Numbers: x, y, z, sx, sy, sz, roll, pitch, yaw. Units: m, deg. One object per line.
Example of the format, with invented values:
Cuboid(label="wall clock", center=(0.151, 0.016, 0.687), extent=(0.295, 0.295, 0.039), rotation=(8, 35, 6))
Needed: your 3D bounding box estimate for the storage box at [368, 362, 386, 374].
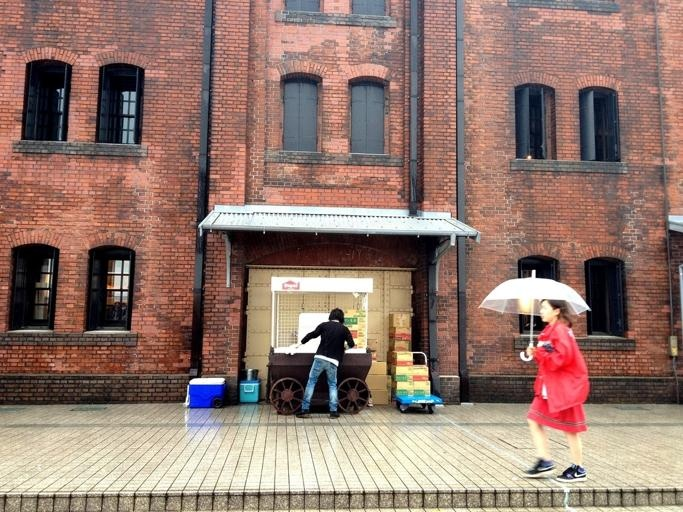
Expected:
Cuboid(label="storage box", center=(0.922, 2.852, 18.443), extent=(0.326, 0.216, 0.332), rotation=(1, -3, 0))

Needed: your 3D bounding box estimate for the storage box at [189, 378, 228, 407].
Cuboid(label="storage box", center=(-3.355, 3.385, 17.931), extent=(0.819, 0.657, 0.569), rotation=(0, -4, -4))

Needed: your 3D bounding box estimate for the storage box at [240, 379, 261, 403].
Cuboid(label="storage box", center=(-2.297, 3.428, 18.646), extent=(0.571, 0.618, 0.472), rotation=(1, -2, -2))

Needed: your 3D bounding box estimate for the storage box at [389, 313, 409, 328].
Cuboid(label="storage box", center=(1.504, 1.727, 18.978), extent=(0.372, 0.258, 0.378), rotation=(1, -14, -6))

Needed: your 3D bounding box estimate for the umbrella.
Cuboid(label="umbrella", center=(3.735, 1.161, 14.276), extent=(1.857, 1.823, 1.855), rotation=(21, -20, -39))

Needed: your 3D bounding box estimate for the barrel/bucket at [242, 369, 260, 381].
Cuboid(label="barrel/bucket", center=(-2.322, 3.051, 18.671), extent=(0.240, 0.244, 0.338), rotation=(-2, -10, 12))

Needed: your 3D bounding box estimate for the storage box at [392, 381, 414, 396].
Cuboid(label="storage box", center=(1.496, 3.292, 18.039), extent=(0.325, 0.214, 0.328), rotation=(4, -7, -27))

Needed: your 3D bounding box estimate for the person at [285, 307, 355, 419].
Cuboid(label="person", center=(-0.478, 2.648, 17.187), extent=(1.387, 2.883, 0.917), rotation=(16, -36, -9))

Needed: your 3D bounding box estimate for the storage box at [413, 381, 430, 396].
Cuboid(label="storage box", center=(1.975, 3.280, 17.977), extent=(0.336, 0.274, 0.336), rotation=(0, -5, 7))

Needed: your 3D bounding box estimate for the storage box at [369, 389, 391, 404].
Cuboid(label="storage box", center=(0.959, 3.590, 18.347), extent=(0.589, 0.305, 0.310), rotation=(1, -7, -8))

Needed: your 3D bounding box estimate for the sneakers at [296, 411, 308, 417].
Cuboid(label="sneakers", center=(-0.911, 3.684, 16.837), extent=(0.316, 0.108, 0.242), rotation=(-2, -5, 18))

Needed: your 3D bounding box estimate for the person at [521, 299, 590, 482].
Cuboid(label="person", center=(3.953, 2.471, 13.363), extent=(1.072, 3.288, 0.554), rotation=(-2, -5, 14))

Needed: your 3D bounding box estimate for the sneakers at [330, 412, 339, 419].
Cuboid(label="sneakers", center=(-0.151, 3.679, 16.828), extent=(0.290, 0.133, 0.206), rotation=(2, -5, -29))

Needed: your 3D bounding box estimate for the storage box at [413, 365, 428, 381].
Cuboid(label="storage box", center=(1.951, 2.907, 18.047), extent=(0.342, 0.264, 0.345), rotation=(0, -7, 7))

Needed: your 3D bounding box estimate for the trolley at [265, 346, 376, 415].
Cuboid(label="trolley", center=(-0.476, 3.031, 18.177), extent=(1.762, 1.385, 2.301), rotation=(16, -13, -17))

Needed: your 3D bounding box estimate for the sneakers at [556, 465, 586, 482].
Cuboid(label="sneakers", center=(4.209, 3.989, 13.377), extent=(0.614, 0.312, 0.237), rotation=(1, -13, 0))

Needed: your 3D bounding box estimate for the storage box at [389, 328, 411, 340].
Cuboid(label="storage box", center=(1.510, 2.042, 18.897), extent=(0.526, 0.297, 0.293), rotation=(-1, -5, 6))
